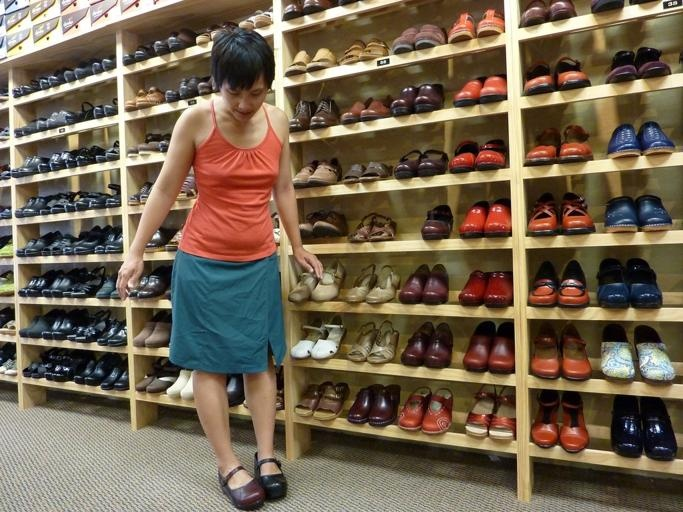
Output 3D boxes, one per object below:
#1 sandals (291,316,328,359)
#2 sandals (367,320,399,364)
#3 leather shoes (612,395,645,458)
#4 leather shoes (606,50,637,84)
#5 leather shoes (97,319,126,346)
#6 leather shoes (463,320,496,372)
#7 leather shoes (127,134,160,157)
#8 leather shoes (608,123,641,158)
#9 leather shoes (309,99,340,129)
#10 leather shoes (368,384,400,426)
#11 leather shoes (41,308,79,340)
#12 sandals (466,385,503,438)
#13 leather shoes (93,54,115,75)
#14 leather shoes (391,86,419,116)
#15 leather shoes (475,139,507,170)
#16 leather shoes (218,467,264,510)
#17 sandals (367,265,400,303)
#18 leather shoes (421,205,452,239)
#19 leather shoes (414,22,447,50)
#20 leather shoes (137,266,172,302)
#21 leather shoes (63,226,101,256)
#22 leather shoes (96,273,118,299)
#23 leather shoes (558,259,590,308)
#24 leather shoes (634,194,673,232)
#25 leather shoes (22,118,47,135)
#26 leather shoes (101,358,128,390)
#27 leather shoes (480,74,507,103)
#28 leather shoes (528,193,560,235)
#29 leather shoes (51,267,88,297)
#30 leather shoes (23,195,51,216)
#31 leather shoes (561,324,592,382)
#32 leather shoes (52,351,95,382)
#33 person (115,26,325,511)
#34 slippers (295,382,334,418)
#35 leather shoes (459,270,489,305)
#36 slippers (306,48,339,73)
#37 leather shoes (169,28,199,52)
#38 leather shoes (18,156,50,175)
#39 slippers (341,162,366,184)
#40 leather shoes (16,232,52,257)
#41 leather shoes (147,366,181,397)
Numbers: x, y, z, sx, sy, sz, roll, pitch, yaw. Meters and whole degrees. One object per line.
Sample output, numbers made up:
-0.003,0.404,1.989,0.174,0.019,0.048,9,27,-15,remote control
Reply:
-0.170,0.439,2.790,0.103,0.105,0.296,4,19,17,sandals
0.225,0.452,2.696,0.133,0.105,0.372,2,17,15,sandals
1.315,0.768,2.348,0.136,0.108,0.380,2,18,26,leather shoes
1.258,-0.855,2.336,0.100,0.114,0.290,2,15,20,leather shoes
-1.466,0.489,3.307,0.126,0.064,0.199,0,9,-2,leather shoes
0.689,0.442,2.548,0.104,0.114,0.314,-2,23,26,leather shoes
-1.199,-0.687,3.213,0.110,0.104,0.256,9,18,40,leather shoes
1.263,-0.510,2.273,0.128,0.152,0.148,2,7,28,leather shoes
-0.089,-0.733,2.666,0.092,0.100,0.239,-1,25,12,leather shoes
0.220,0.770,2.667,0.090,0.094,0.262,0,4,13,leather shoes
-1.925,0.456,3.529,0.140,0.084,0.233,-3,23,26,leather shoes
0.706,0.766,2.560,0.123,0.110,0.412,5,12,26,sandals
-1.572,-1.243,3.380,0.098,0.114,0.275,-25,21,-34,leather shoes
0.315,-0.768,2.558,0.146,0.153,0.120,-1,6,5,leather shoes
0.736,-0.490,2.480,0.131,0.165,0.266,3,7,35,leather shoes
-0.469,1.045,2.373,0.106,0.108,0.260,-6,10,-42,leather shoes
0.220,0.138,2.728,0.130,0.135,0.397,1,17,16,sandals
0.484,-0.165,2.581,0.127,0.169,0.226,1,6,17,leather shoes
0.452,-1.093,2.553,0.083,0.092,0.222,3,16,22,leather shoes
-1.160,0.171,3.191,0.148,0.137,0.403,5,18,4,leather shoes
-1.737,-0.111,3.433,0.160,0.099,0.257,-1,16,24,leather shoes
-1.540,0.198,3.387,0.103,0.103,0.278,-4,11,3,leather shoes
1.088,0.149,2.411,0.138,0.110,0.392,2,14,23,leather shoes
1.375,-0.188,2.252,0.116,0.152,0.166,1,7,23,leather shoes
-2.171,-0.903,3.613,0.279,0.104,0.099,1,14,32,leather shoes
-1.477,0.774,3.368,0.082,0.086,0.238,6,33,13,leather shoes
0.726,-0.794,2.442,0.121,0.151,0.171,0,6,15,leather shoes
0.943,-0.182,2.374,0.101,0.113,0.297,-1,16,20,leather shoes
-1.927,0.183,3.594,0.106,0.077,0.282,-1,21,10,leather shoes
-2.178,-0.360,3.641,0.137,0.087,0.224,-1,13,2,leather shoes
1.064,0.448,2.355,0.103,0.106,0.301,-8,29,18,leather shoes
-1.869,0.761,3.542,0.102,0.104,0.294,3,9,12,leather shoes
-0.483,0.088,2.313,0.861,2.084,0.429,-4,6,-21,person
-0.162,0.773,2.813,0.114,0.114,0.325,5,8,18,slippers
0.673,0.143,2.558,0.108,0.115,0.304,3,20,30,leather shoes
-0.101,-1.047,2.721,0.084,0.086,0.207,6,23,22,slippers
-0.960,-1.296,3.065,0.093,0.077,0.216,-4,-9,-23,leather shoes
-2.164,-0.630,3.628,0.239,0.085,0.144,-11,12,-36,leather shoes
0.063,-0.438,2.693,0.069,0.072,0.184,-2,18,20,slippers
-2.156,-0.074,3.632,0.152,0.079,0.229,-6,19,41,leather shoes
-1.098,0.766,3.141,0.086,0.074,0.238,0,12,10,leather shoes
